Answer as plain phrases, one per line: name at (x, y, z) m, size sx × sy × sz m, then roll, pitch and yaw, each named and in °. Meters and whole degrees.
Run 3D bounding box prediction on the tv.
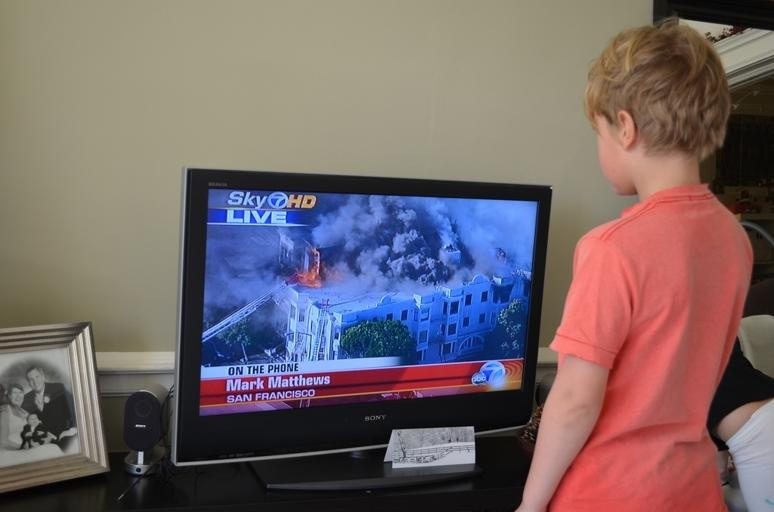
tv at (-0.111, 0.260, 2.285) m, size 1.213 × 0.842 × 0.347 m, roll 1°, pitch 2°, yaw -16°
